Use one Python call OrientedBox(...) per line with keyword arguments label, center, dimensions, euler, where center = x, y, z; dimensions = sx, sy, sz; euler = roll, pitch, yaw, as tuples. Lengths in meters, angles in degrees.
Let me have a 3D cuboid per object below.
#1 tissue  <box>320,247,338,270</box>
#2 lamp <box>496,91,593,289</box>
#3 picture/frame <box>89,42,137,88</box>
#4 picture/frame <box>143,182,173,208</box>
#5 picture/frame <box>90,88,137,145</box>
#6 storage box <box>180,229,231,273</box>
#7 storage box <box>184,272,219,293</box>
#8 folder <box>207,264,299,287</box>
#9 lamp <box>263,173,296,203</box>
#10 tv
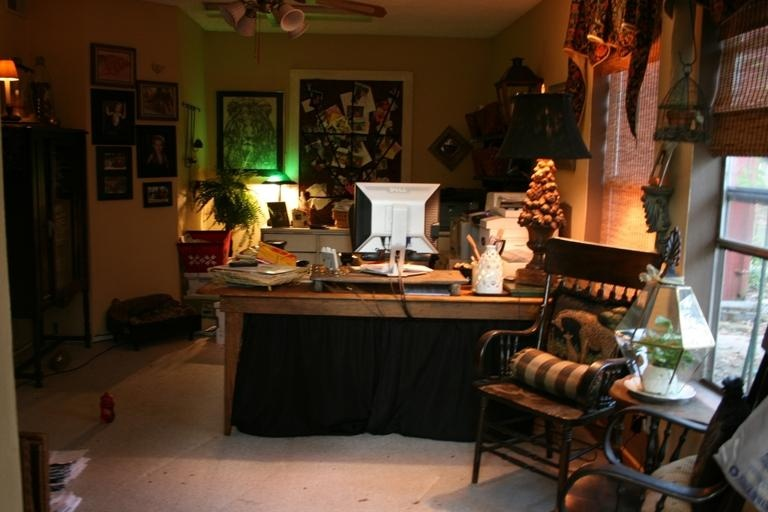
OrientedBox(label="tissue ", center=(-0.431, 0.018, 4.585), dimensions=(0.084, 0.176, 0.208), euler=(-14, 20, -29))
OrientedBox(label="lamp", center=(1.168, -0.493, 4.301), dimensions=(0.599, 1.418, 0.565), euler=(2, 9, 18))
OrientedBox(label="picture/frame", center=(-2.796, -1.958, 6.048), dimensions=(0.056, 0.497, 0.563), euler=(2, 5, 43))
OrientedBox(label="picture/frame", center=(-2.504, -0.676, 6.502), dimensions=(0.033, 0.246, 0.306), euler=(1, 7, 42))
OrientedBox(label="picture/frame", center=(-2.796, -1.422, 6.087), dimensions=(0.022, 0.560, 0.445), euler=(8, 12, 43))
OrientedBox(label="storage box", center=(-2.058, -0.057, 6.878), dimensions=(0.518, 0.345, 0.733), euler=(-1, 10, -4))
OrientedBox(label="storage box", center=(-1.783, 0.251, 5.775), dimensions=(0.245, 0.131, 0.235), euler=(2, 9, 1))
OrientedBox(label="folder", center=(-0.916, 0.145, 4.296), dimensions=(0.684, 0.157, 0.230), euler=(-2, 8, -11))
OrientedBox(label="lamp", center=(-1.284, -0.867, 7.447), dimensions=(0.390, 0.313, 0.377), euler=(3, 10, 10))
OrientedBox(label="tv", center=(0.079, -0.196, 4.333), dimensions=(0.749, 0.698, 0.257), euler=(1, 17, -4))
